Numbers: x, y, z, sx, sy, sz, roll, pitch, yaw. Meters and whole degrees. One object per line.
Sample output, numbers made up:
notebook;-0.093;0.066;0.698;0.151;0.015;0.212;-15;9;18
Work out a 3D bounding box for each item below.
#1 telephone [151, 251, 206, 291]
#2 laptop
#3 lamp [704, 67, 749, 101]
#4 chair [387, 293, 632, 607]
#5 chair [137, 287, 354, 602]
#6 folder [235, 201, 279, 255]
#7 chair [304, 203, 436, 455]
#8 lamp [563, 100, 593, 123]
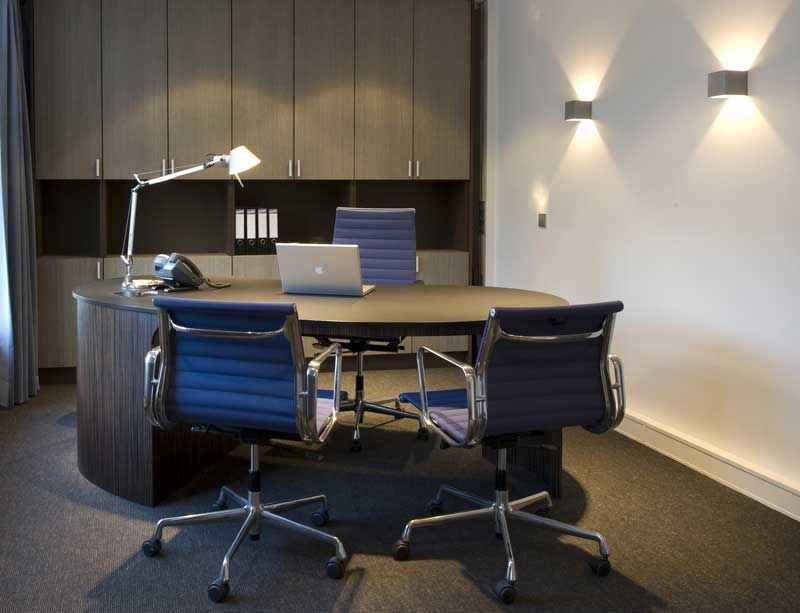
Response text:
telephone;-1.211;-0.190;3.913;0.167;0.179;0.233;5;5;36
laptop;-0.410;-0.187;3.644;0.328;0.231;0.294;2;7;10
lamp;1.595;-1.080;3.553;0.134;0.121;0.149;-2;4;-16
chair;0.467;0.521;3.109;0.866;1.177;0.946;6;9;33
chair;-0.642;0.510;3.088;0.849;1.161;0.863;-2;8;-24
folder;-1.122;-0.581;5.588;0.380;0.419;0.292;-2;3;-17
chair;-0.288;0.082;5.163;0.810;1.562;0.876;-4;7;-24
lamp;1.150;-1.266;4.666;0.166;0.126;0.207;1;14;2
